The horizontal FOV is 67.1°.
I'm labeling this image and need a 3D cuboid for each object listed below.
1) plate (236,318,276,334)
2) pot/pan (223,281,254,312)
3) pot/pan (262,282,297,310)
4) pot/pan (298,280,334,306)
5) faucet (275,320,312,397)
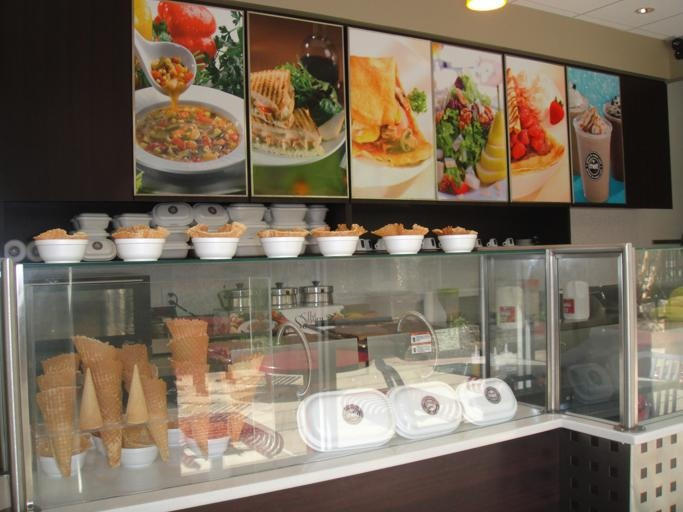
[{"bbox_3d":[-0.274,0.218,1.608,0.130,0.047,0.010,3,-4,-10],"label":"plate"},{"bbox_3d":[-0.323,0.126,1.593,0.081,0.074,0.082,-2,-3,43],"label":"pot/pan"},{"bbox_3d":[-0.194,0.120,1.631,0.080,0.073,0.081,2,2,44],"label":"pot/pan"},{"bbox_3d":[-0.079,0.113,1.697,0.088,0.066,0.090,1,-1,-22],"label":"pot/pan"},{"bbox_3d":[-0.149,0.331,1.652,0.114,0.246,0.051,2,9,-7],"label":"faucet"}]
